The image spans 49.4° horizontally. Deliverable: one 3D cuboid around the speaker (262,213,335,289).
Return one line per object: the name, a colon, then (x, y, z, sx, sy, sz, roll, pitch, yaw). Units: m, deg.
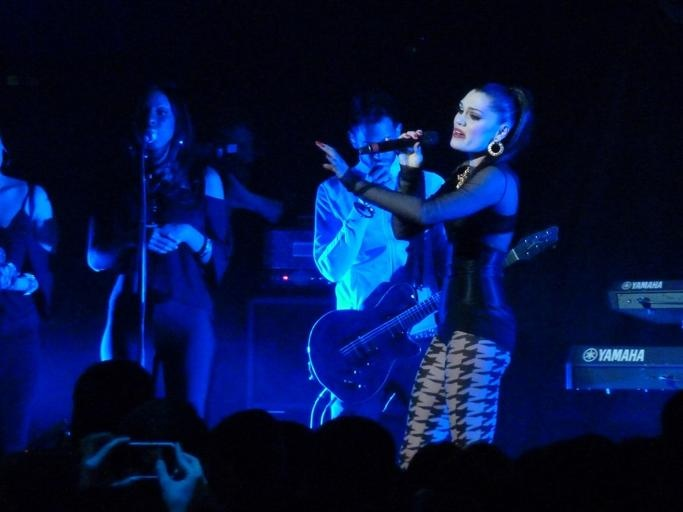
speaker: (-0.307, -0.009, 4.745, 0.408, 0.389, 0.407, 0, -12, -4)

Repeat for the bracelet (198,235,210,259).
bracelet: (-0.857, -0.042, 4.682, 0.083, 0.117, 0.035, 3, 3, -19)

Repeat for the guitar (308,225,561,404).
guitar: (0.417, 0.304, 4.173, 1.592, 0.569, 0.188, -38, -18, 34)

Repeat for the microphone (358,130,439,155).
microphone: (0.344, -0.631, 4.204, 0.475, 0.124, 0.112, -10, 36, 5)
